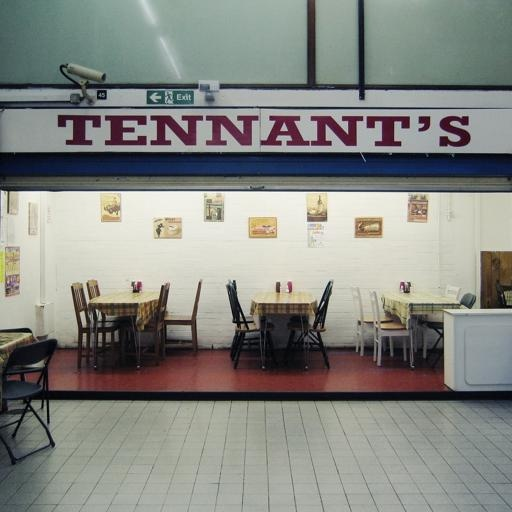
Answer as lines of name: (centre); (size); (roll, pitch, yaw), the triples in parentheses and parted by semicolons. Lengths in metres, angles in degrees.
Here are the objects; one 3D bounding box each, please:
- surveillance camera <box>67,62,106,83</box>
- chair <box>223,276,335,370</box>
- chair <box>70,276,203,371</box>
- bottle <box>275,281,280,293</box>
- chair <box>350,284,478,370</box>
surveillance camera: (-1.378, -1.487, 4.624); (0.386, 0.127, 0.142); (22, 18, 14)
chair: (0.280, 0.868, 7.315); (1.052, 0.863, 1.340); (0, 3, -1)
chair: (-1.715, 0.872, 7.283); (1.085, 0.761, 1.501); (0, 3, 3)
bottle: (0.316, 0.453, 8.025); (0.106, 0.204, 0.109); (0, 3, 0)
chair: (2.117, 0.942, 7.527); (1.520, 0.973, 1.447); (1, 8, 10)
